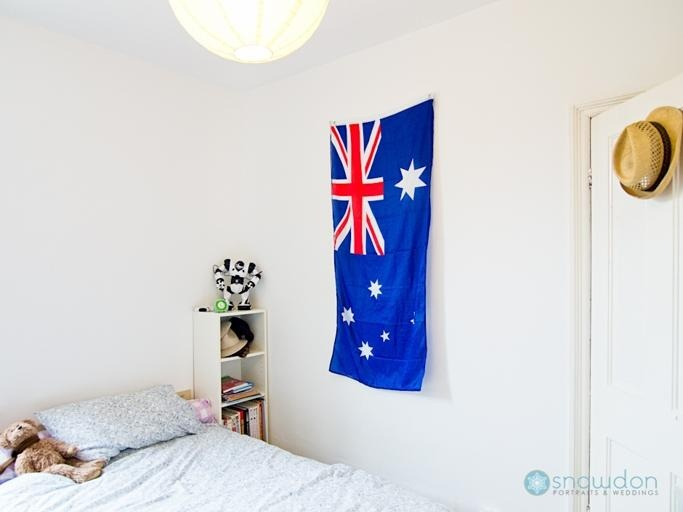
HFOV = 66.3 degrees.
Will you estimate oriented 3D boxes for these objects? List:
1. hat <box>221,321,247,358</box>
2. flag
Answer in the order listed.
[{"bbox_3d":[-0.769,0.598,3.741,0.183,0.205,0.241,1,10,-11],"label":"hat"},{"bbox_3d":[0.248,-0.078,3.349,0.842,1.799,0.275,9,12,36],"label":"flag"}]
